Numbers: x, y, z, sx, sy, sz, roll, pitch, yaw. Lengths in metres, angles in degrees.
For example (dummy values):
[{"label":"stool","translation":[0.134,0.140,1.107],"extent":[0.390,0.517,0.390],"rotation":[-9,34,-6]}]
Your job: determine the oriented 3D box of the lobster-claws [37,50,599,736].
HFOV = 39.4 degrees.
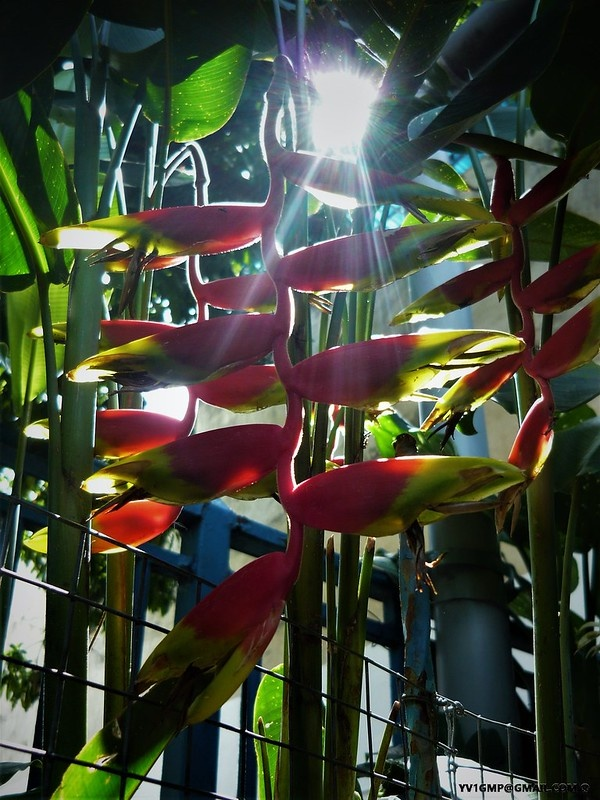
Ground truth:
[{"label":"lobster-claws","translation":[0.014,-0.003,0.412],"extent":[0.248,0.313,0.176],"rotation":[11,-28,-13]}]
